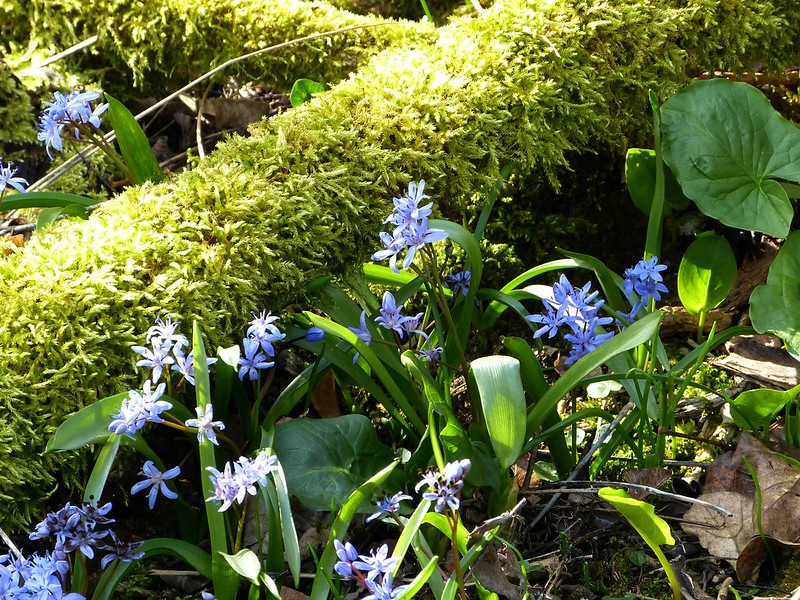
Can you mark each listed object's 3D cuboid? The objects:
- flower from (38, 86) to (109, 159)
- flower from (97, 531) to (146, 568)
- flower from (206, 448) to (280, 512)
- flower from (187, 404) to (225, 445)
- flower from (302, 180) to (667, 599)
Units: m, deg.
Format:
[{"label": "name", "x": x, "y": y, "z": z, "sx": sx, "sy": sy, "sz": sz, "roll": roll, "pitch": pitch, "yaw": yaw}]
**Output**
[{"label": "flower", "x": -1.199, "y": -0.651, "z": 2.651, "sx": 0.239, "sy": 0.217, "sz": 0.453, "roll": -29, "pitch": 28, "yaw": -19}, {"label": "flower", "x": -0.804, "y": 0.744, "z": 2.155, "sx": 0.137, "sy": 0.071, "sz": 0.127, "roll": 12, "pitch": 33, "yaw": -37}, {"label": "flower", "x": -0.419, "y": 0.499, "z": 2.026, "sx": 0.180, "sy": 0.079, "sz": 0.196, "roll": -15, "pitch": 42, "yaw": 6}, {"label": "flower", "x": -0.530, "y": 0.357, "z": 2.080, "sx": 0.113, "sy": 0.142, "sz": 0.065, "roll": 0, "pitch": -6, "yaw": 8}, {"label": "flower", "x": 0.106, "y": 0.326, "z": 2.489, "sx": 1.179, "sy": 1.180, "sz": 1.306, "roll": 9, "pitch": 49, "yaw": 3}]
